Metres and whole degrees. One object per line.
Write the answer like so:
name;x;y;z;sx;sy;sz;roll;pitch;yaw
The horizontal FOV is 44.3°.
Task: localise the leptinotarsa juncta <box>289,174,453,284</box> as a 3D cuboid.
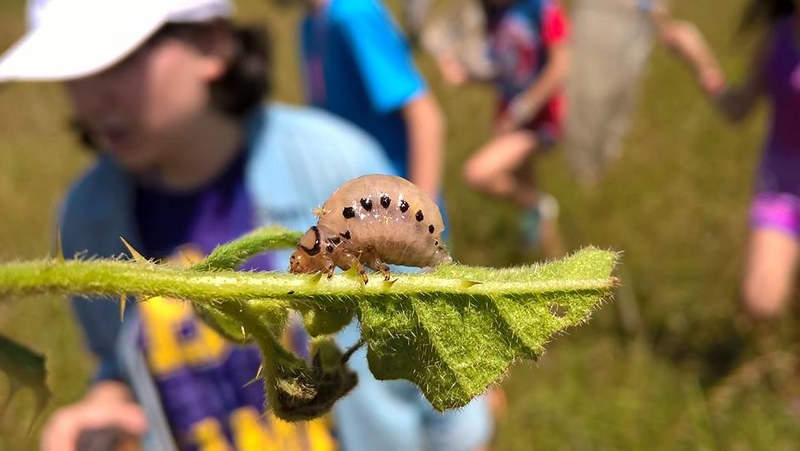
leptinotarsa juncta;-0.127;0.056;4.048;0.536;0.407;0.413;-1;-9;-6
